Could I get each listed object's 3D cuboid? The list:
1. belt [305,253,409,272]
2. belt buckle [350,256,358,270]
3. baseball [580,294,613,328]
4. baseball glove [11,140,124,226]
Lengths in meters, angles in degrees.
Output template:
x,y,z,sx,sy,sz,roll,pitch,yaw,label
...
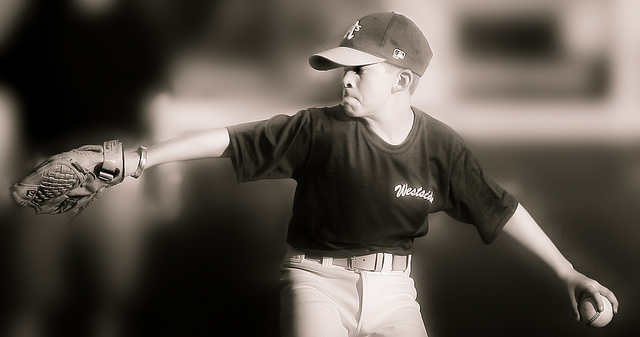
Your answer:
x,y,z,sx,sy,sz,roll,pitch,yaw,label
0.231,0.579,4.756,0.642,0.112,0.069,0,9,-6,belt
0.193,0.581,4.733,0.064,0.061,0.015,1,-3,-18,belt buckle
1.679,0.897,4.801,0.201,0.197,0.198,-11,9,10,baseball
-1.488,0.056,4.550,0.638,0.431,0.140,-2,10,-18,baseball glove
